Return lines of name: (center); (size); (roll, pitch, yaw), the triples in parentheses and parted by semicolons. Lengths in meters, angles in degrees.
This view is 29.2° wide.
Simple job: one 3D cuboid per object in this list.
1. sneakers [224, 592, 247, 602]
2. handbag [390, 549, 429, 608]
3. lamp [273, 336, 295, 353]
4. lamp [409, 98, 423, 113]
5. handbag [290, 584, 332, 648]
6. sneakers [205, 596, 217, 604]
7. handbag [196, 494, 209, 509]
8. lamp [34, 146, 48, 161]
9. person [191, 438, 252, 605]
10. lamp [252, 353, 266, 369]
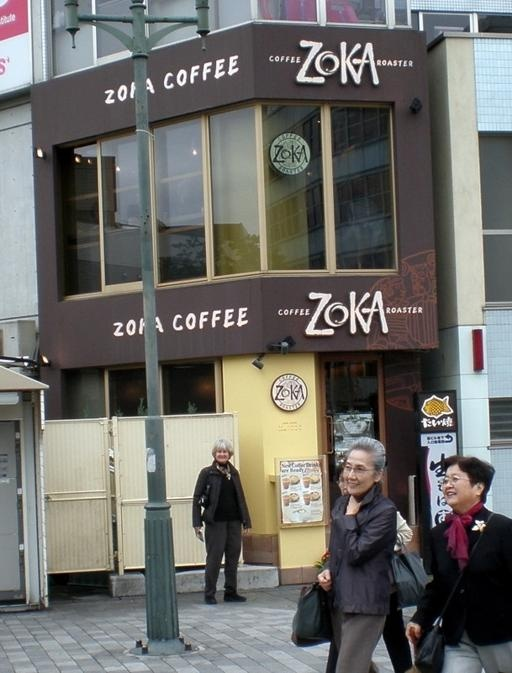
sneakers: (-0.237, 2.845, 10.700); (0.204, 0.096, 0.103); (-1, -5, 5)
handbag: (0.800, 1.231, 5.162); (0.107, 0.305, 0.307); (-14, 15, 18)
lamp: (0.365, 0.115, 12.471); (0.272, 0.212, 0.177); (-4, -4, 0)
lamp: (2.174, -3.098, 13.229); (0.200, 0.190, 0.139); (-3, -4, -9)
handbag: (0.299, 1.519, 5.295); (0.192, 0.374, 0.306); (2, -31, 1)
sneakers: (-0.480, 2.821, 10.488); (0.128, 0.089, 0.167); (-4, -5, -7)
handbag: (-0.573, 1.813, 10.728); (0.156, 0.226, 0.122); (-1, -30, -1)
lamp: (-3.216, -2.737, 14.704); (0.072, 0.207, 0.193); (-1, -17, 11)
person: (-0.393, 2.028, 10.763); (0.643, 1.750, 0.470); (-2, -5, -19)
lamp: (0.027, 0.332, 12.533); (0.154, 0.198, 0.223); (-4, -4, 0)
